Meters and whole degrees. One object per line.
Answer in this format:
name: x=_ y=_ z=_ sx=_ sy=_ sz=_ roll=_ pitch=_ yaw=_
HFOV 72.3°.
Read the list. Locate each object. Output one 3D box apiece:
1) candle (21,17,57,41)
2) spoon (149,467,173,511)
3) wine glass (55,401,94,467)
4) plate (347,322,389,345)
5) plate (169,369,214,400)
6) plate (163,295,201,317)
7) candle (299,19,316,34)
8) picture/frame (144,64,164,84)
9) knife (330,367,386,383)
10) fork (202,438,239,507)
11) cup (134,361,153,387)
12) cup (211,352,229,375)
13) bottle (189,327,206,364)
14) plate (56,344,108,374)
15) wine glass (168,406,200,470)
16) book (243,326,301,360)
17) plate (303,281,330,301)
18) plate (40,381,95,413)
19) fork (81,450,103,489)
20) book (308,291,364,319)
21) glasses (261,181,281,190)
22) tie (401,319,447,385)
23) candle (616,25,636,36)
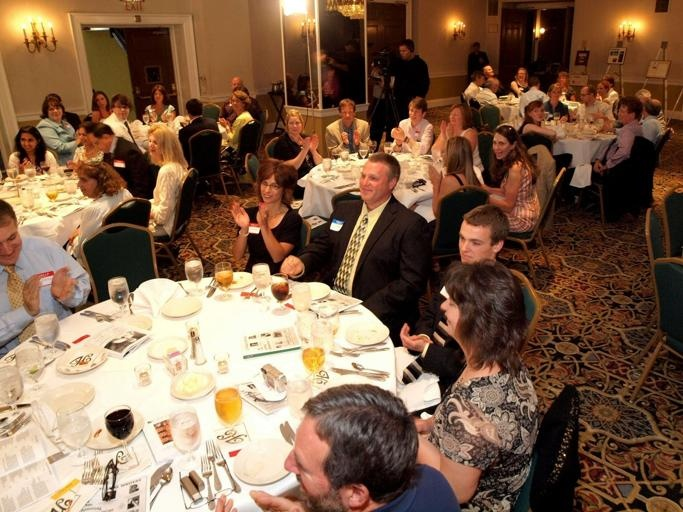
candle: x=-5.446 y=-4.093 z=8.346 sx=0.421 sy=0.366 sz=0.121 roll=-25 pitch=-8 yaw=-43
spoon: x=-0.621 y=0.794 z=1.611 sx=0.027 sy=0.020 sz=0.172 roll=-3 pitch=35 yaw=22
wine glass: x=-0.992 y=0.636 z=1.726 sx=0.097 sy=0.178 sz=0.192 roll=-20 pitch=29 yaw=-36
plate: x=0.126 y=0.381 z=2.325 sx=0.211 sy=0.034 sz=0.212 roll=1 pitch=24 yaw=5
plate: x=-0.635 y=0.556 z=1.985 sx=0.186 sy=0.045 sz=0.140 roll=-7 pitch=25 yaw=-11
plate: x=-0.873 y=0.282 z=2.552 sx=0.210 sy=0.032 sz=0.196 roll=7 pitch=25 yaw=17
candle: x=-0.555 y=-3.774 z=7.576 sx=0.029 sy=0.204 sz=0.467 roll=-16 pitch=28 yaw=-31
picture/frame: x=-4.265 y=-4.100 z=10.573 sx=0.392 sy=0.397 sz=0.285 roll=-2 pitch=14 yaw=-25
knife: x=0.050 y=0.521 z=2.060 sx=0.294 sy=0.034 sz=0.078 roll=5 pitch=25 yaw=8
fork: x=-0.435 y=0.760 z=1.648 sx=0.072 sy=0.031 sz=0.223 roll=-5 pitch=33 yaw=-14
cup: x=-0.866 y=0.520 z=2.052 sx=0.078 sy=0.094 sz=0.080 roll=2 pitch=18 yaw=0
cup: x=-0.535 y=0.488 z=2.096 sx=0.075 sy=0.091 sz=0.078 roll=0 pitch=26 yaw=0
bottle: x=-0.689 y=0.396 z=2.202 sx=0.062 sy=0.149 sz=0.213 roll=-10 pitch=25 yaw=-18
plate: x=-1.195 y=0.481 z=2.150 sx=0.208 sy=0.041 sz=0.185 roll=-14 pitch=27 yaw=-25
wine glass: x=-0.572 y=0.677 z=1.693 sx=0.128 sy=0.234 sz=0.138 roll=1 pitch=31 yaw=-3
book: x=-0.338 y=0.417 z=2.265 sx=0.273 sy=0.033 sz=0.184 roll=-6 pitch=25 yaw=-10
plate: x=-0.131 y=0.198 z=2.654 sx=0.099 sy=0.014 sz=0.103 roll=5 pitch=32 yaw=5
plate: x=-1.135 y=0.584 z=1.948 sx=0.150 sy=0.023 sz=0.154 roll=-2 pitch=23 yaw=-15
fork: x=-0.881 y=0.767 z=1.653 sx=0.066 sy=0.014 sz=0.066 roll=21 pitch=27 yaw=35
book: x=-0.040 y=0.274 z=2.543 sx=0.139 sy=0.018 sz=0.153 roll=-26 pitch=30 yaw=-37
glasses: x=-0.526 y=-0.521 z=3.435 sx=0.126 sy=0.062 sz=0.024 roll=1 pitch=23 yaw=5
tie: x=0.432 y=0.535 z=2.426 sx=0.256 sy=0.150 sz=0.261 roll=-26 pitch=32 yaw=-6
candle: x=7.433 y=-5.923 z=12.154 sx=0.352 sy=0.374 sz=0.077 roll=17 pitch=42 yaw=39
